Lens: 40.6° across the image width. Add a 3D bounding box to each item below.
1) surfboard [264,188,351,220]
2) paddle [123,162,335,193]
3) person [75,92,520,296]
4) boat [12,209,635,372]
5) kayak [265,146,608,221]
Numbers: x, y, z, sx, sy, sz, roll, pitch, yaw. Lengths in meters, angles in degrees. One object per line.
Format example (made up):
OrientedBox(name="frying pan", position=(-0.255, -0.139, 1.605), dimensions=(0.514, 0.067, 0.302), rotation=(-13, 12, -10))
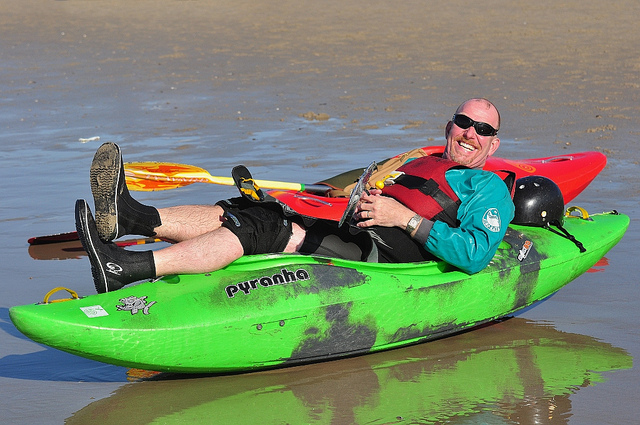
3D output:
OrientedBox(name="surfboard", position=(-0.119, -0.067, 7.332), dimensions=(0.732, 0.072, 0.276), rotation=(6, 6, -4))
OrientedBox(name="paddle", position=(-0.975, -0.332, 8.056), dimensions=(1.632, 0.319, 0.340), rotation=(-1, 26, -5))
OrientedBox(name="person", position=(-0.112, -0.030, 6.973), dimensions=(3.539, 0.875, 1.159), rotation=(-7, 32, -6))
OrientedBox(name="boat", position=(0.671, 0.654, 7.136), dimensions=(5.877, 0.544, 1.329), rotation=(-5, 8, -13))
OrientedBox(name="kayak", position=(1.596, -0.332, 8.632), dimensions=(4.525, 0.607, 0.986), rotation=(-4, 15, -10))
